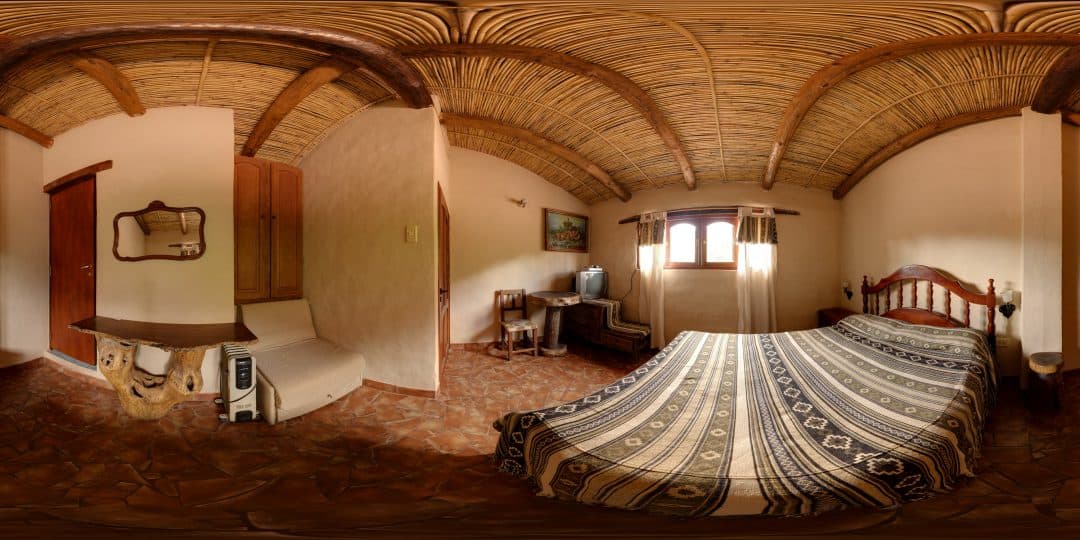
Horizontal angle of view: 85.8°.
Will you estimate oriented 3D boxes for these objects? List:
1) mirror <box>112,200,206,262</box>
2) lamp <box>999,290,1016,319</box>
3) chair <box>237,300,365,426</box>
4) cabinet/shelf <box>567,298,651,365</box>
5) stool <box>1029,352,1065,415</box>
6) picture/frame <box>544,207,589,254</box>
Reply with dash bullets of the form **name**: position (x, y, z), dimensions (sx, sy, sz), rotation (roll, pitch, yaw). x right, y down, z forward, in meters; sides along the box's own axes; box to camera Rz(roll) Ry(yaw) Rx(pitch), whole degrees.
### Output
- **mirror**: position (-5.417, -0.559, 8.237), dimensions (1.177, 0.649, 0.023), rotation (0, 3, 6)
- **lamp**: position (6.528, 0.474, 8.075), dimensions (0.217, 0.425, 0.090), rotation (2, 0, 8)
- **chair**: position (-3.502, 1.255, 8.339), dimensions (1.254, 1.694, 1.257), rotation (2, 1, 43)
- **cabinet/shelf**: position (1.320, 1.009, 10.519), dimensions (0.844, 0.691, 1.505), rotation (-9, 11, -43)
- **stool**: position (6.824, 1.508, 7.806), dimensions (0.449, 0.818, 0.239), rotation (2, 0, -22)
- **picture/frame**: position (0.423, -0.763, 11.138), dimensions (1.173, 0.624, 0.045), rotation (0, 6, -35)
